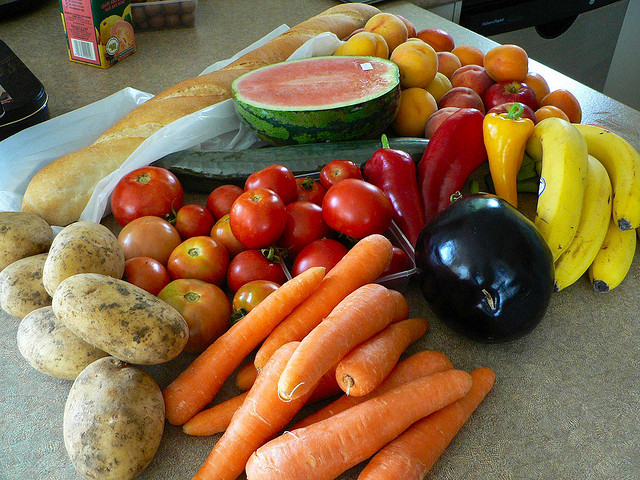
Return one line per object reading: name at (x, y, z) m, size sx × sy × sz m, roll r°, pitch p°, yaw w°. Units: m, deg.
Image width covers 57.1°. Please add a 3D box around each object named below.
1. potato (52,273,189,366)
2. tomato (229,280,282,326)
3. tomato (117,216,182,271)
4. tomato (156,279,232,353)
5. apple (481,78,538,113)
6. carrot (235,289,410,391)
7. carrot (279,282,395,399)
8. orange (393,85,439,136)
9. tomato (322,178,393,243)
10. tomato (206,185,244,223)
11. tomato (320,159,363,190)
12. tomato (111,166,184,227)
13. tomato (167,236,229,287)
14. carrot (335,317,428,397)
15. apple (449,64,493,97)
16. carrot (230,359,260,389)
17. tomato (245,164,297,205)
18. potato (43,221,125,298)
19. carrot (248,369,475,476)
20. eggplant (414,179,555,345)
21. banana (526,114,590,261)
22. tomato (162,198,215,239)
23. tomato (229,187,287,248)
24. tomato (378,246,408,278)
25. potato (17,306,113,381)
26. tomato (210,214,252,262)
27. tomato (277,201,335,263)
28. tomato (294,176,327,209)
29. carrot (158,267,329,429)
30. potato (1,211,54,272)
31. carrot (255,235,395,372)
potato at (-0.396, 0.152, 1.172) m, size 0.261 × 0.144 × 0.154 m, roll 23°, pitch 28°, yaw 0°
tomato at (-0.142, 0.126, 1.318) m, size 0.090 × 0.103 × 0.102 m, roll 18°, pitch 50°, yaw -8°
tomato at (-0.387, -0.002, 1.339) m, size 0.108 × 0.121 × 0.118 m, roll -2°, pitch 62°, yaw -8°
tomato at (-0.227, 0.183, 1.298) m, size 0.166 × 0.172 × 0.143 m, roll -1°, pitch 85°, yaw 9°
apple at (0.543, -0.428, 1.705) m, size 0.106 × 0.123 × 0.116 m, roll -10°, pitch 46°, yaw -9°
carrot at (0.006, 0.200, 1.152) m, size 0.239 × 0.068 × 0.060 m, roll -30°, pitch 57°, yaw -9°
carrot at (0.044, 0.189, 1.196) m, size 0.098 × 0.104 × 0.359 m, roll 30°, pitch 46°, yaw 21°
orange at (0.275, -0.379, 1.747) m, size 0.125 × 0.158 × 0.117 m, roll -3°, pitch 14°, yaw -38°
tomato at (0.089, -0.070, 1.375) m, size 0.148 × 0.156 × 0.139 m, roll -10°, pitch 77°, yaw 35°
tomato at (-0.246, -0.092, 1.506) m, size 0.082 × 0.090 × 0.085 m, roll -12°, pitch 48°, yaw -24°
tomato at (0.046, -0.167, 1.436) m, size 0.070 × 0.082 × 0.073 m, roll 3°, pitch 14°, yaw -1°
tomato at (-0.412, -0.110, 1.426) m, size 0.135 × 0.159 × 0.143 m, roll -1°, pitch 32°, yaw -7°
tomato at (-0.271, 0.045, 1.312) m, size 0.109 × 0.120 × 0.109 m, roll -7°, pitch 35°, yaw -25°
carrot at (0.137, 0.225, 1.199) m, size 0.075 × 0.086 × 0.291 m, roll 21°, pitch 30°, yaw 33°
apple at (0.451, -0.477, 1.799) m, size 0.105 × 0.113 × 0.106 m, roll 1°, pitch 14°, yaw 20°
carrot at (-0.143, 0.277, 1.205) m, size 0.037 × 0.074 × 0.040 m, roll 27°, pitch 52°, yaw -18°
tomato at (-0.106, -0.144, 1.397) m, size 0.092 × 0.102 × 0.095 m, roll 8°, pitch 34°, yaw 39°
potato at (-0.503, 0.015, 1.246) m, size 0.181 × 0.138 × 0.109 m, roll 34°, pitch 88°, yaw -12°
carrot at (0.084, 0.346, 1.081) m, size 0.452 × 0.064 × 0.083 m, roll -21°, pitch 48°, yaw -12°
eggplant at (0.354, 0.058, 1.299) m, size 0.277 × 0.252 × 0.360 m, roll -13°, pitch 48°, yaw -5°
banana at (0.543, -0.132, 1.364) m, size 0.138 × 0.148 × 0.317 m, roll 10°, pitch 50°, yaw 15°
tomato at (-0.306, -0.044, 1.408) m, size 0.102 × 0.092 × 0.088 m, roll 19°, pitch 11°, yaw -17°
tomato at (-0.140, -0.048, 1.354) m, size 0.114 × 0.134 × 0.120 m, roll 1°, pitch 27°, yaw -1°
tomato at (0.160, 0.048, 1.361) m, size 0.053 × 0.061 × 0.061 m, roll 21°, pitch 11°, yaw -9°
potato at (-0.518, 0.213, 1.210) m, size 0.178 × 0.107 × 0.125 m, roll 18°, pitch 81°, yaw 14°
tomato at (-0.221, 0.002, 1.432) m, size 0.088 × 0.099 × 0.091 m, roll 9°, pitch 25°, yaw -18°
tomato at (-0.040, -0.031, 1.424) m, size 0.116 × 0.134 × 0.112 m, roll -12°, pitch 12°, yaw -27°
tomato at (-0.022, -0.120, 1.448) m, size 0.066 × 0.075 × 0.074 m, roll 2°, pitch 57°, yaw -9°
carrot at (-0.152, 0.205, 1.216) m, size 0.447 × 0.099 × 0.087 m, roll -43°, pitch 69°, yaw 3°
potato at (-0.661, 0.001, 1.371) m, size 0.122 × 0.067 × 0.135 m, roll 4°, pitch 40°, yaw 1°
carrot at (0.027, 0.102, 1.264) m, size 0.082 × 0.372 × 0.085 m, roll 40°, pitch 10°, yaw 7°
